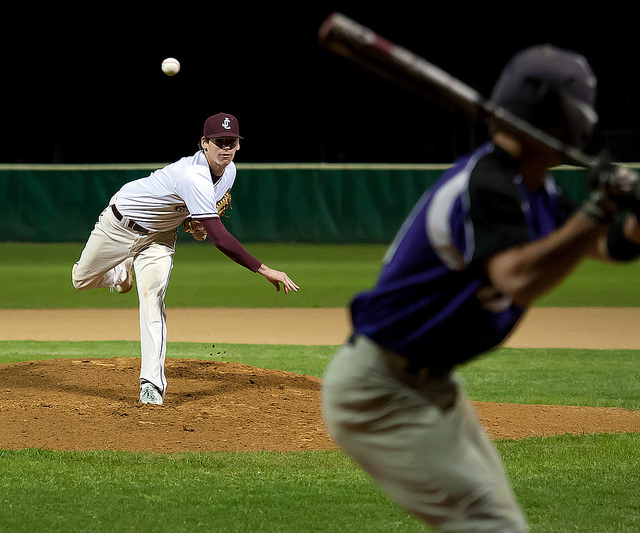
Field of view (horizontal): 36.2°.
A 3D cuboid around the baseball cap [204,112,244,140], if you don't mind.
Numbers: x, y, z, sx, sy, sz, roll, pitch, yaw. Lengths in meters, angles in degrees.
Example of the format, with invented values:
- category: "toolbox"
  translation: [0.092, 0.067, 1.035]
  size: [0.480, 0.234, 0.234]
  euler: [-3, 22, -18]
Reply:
- category: "baseball cap"
  translation: [-0.632, -0.920, 6.393]
  size: [0.233, 0.182, 0.196]
  euler: [1, -1, -12]

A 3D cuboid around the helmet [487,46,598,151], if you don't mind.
- category: "helmet"
  translation: [0.735, -0.559, 3.427]
  size: [0.314, 0.377, 0.168]
  euler: [34, -9, -13]
